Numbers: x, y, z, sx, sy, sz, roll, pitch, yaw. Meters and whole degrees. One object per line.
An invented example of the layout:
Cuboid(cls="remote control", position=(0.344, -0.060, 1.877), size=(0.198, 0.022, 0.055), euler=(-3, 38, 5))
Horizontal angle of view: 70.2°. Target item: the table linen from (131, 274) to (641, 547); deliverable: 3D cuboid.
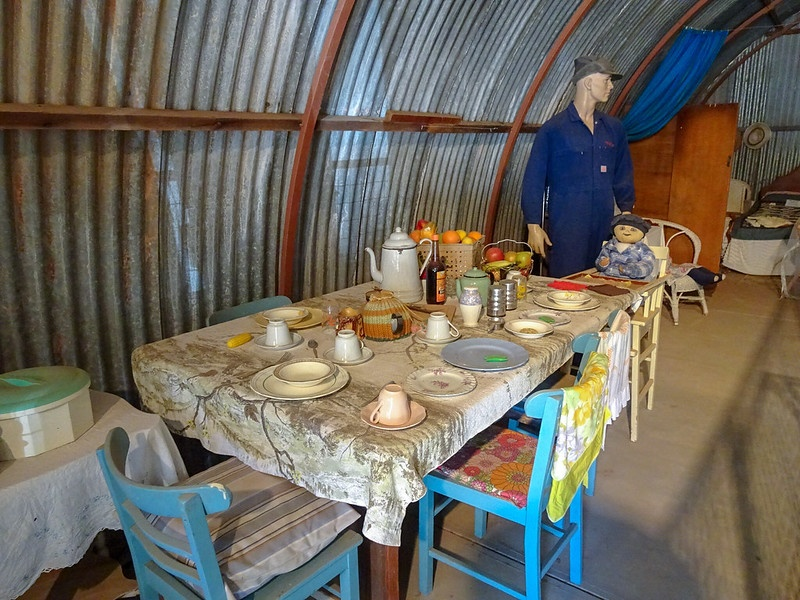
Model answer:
Cuboid(cls="table linen", position=(-0.328, 0.376, 2.120), size=(0.988, 0.311, 1.345), euler=(16, 28, 35))

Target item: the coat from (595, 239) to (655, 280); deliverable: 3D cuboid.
Cuboid(cls="coat", position=(1.380, -0.233, 3.537), size=(0.342, 0.301, 0.219), euler=(17, 13, 36))

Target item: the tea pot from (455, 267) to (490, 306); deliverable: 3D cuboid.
Cuboid(cls="tea pot", position=(0.392, -0.064, 2.886), size=(0.193, 0.176, 0.145), euler=(4, 9, 33))

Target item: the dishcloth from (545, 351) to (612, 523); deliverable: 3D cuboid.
Cuboid(cls="dishcloth", position=(0.672, 0.515, 2.140), size=(0.096, 0.577, 0.354), euler=(13, 20, 31))

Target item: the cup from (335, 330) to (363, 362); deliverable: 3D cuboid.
Cuboid(cls="cup", position=(-0.205, 0.183, 2.359), size=(0.104, 0.092, 0.128), euler=(1, 10, 9))

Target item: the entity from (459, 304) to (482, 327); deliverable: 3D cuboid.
Cuboid(cls="entity", position=(0.332, 0.067, 2.728), size=(0.106, 0.088, 0.101), euler=(4, 16, 18))

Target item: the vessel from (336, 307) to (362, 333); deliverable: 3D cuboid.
Cuboid(cls="vessel", position=(-0.220, 0.090, 2.652), size=(0.135, 0.129, 0.082), euler=(3, 10, 8))

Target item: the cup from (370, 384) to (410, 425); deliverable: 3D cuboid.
Cuboid(cls="cup", position=(-0.015, 0.339, 1.953), size=(0.101, 0.099, 0.152), euler=(17, 27, 35))

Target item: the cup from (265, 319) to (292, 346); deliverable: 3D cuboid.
Cuboid(cls="cup", position=(-0.527, 0.128, 2.503), size=(0.111, 0.092, 0.110), euler=(-2, 11, 0))

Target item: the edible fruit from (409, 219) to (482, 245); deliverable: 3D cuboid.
Cuboid(cls="edible fruit", position=(0.283, -0.385, 3.336), size=(0.348, 0.112, 0.196), euler=(6, 5, -8))

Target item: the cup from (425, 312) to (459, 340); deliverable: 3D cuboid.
Cuboid(cls="cup", position=(0.174, 0.120, 2.539), size=(0.149, 0.093, 0.103), euler=(14, 24, 35))

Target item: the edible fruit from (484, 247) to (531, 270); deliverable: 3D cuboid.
Cuboid(cls="edible fruit", position=(0.635, -0.241, 3.373), size=(0.204, 0.096, 0.187), euler=(-4, 8, 15))

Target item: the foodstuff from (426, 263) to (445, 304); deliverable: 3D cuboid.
Cuboid(cls="foodstuff", position=(0.185, -0.093, 2.951), size=(0.091, 0.300, 0.091), euler=(1, 26, 0))

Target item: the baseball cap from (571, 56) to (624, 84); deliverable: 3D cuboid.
Cuboid(cls="baseball cap", position=(1.382, -1.625, 3.969), size=(0.325, 0.164, 0.239), euler=(2, 22, 19))

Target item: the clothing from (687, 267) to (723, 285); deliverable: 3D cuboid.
Cuboid(cls="clothing", position=(3.194, -0.263, 5.983), size=(0.178, 0.083, 0.286), euler=(-22, 31, -35))

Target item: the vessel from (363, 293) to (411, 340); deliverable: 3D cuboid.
Cuboid(cls="vessel", position=(-0.051, 0.077, 2.594), size=(0.212, 0.138, 0.194), euler=(9, 20, 42))

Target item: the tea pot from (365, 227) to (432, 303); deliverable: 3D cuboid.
Cuboid(cls="tea pot", position=(0.003, -0.209, 3.064), size=(0.420, 0.435, 0.297), euler=(-2, 21, -3))

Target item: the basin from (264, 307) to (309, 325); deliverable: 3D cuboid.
Cuboid(cls="basin", position=(-0.551, 0.064, 2.828), size=(0.117, 0.023, 0.117), euler=(0, 16, 0))

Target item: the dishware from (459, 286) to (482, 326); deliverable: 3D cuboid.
Cuboid(cls="dishware", position=(0.337, 0.025, 2.720), size=(0.114, 0.179, 0.117), euler=(10, 18, 35))

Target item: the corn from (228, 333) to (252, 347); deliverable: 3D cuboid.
Cuboid(cls="corn", position=(-0.716, 0.171, 2.534), size=(0.044, 0.032, 0.094), euler=(7, 16, 31))
